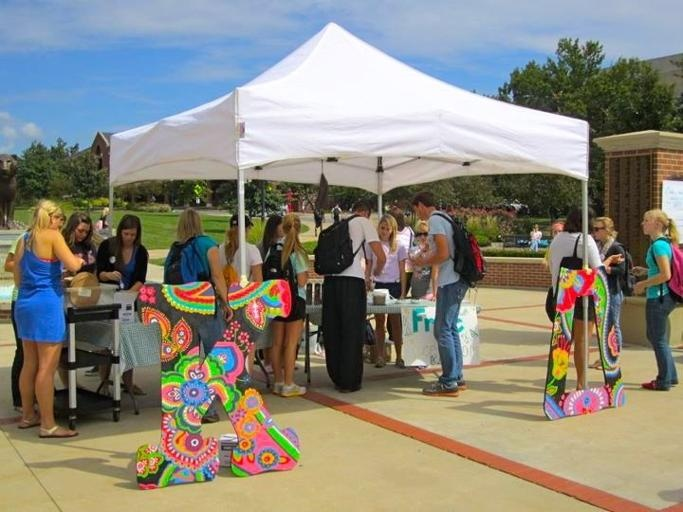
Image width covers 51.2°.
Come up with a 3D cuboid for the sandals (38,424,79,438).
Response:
[{"bbox_3d":[-2.964,1.839,7.503,0.291,0.126,0.174,0,1,-14],"label":"sandals"}]

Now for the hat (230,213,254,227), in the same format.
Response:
[{"bbox_3d":[-1.388,-0.488,9.943,0.241,0.225,0.344,2,8,34],"label":"hat"}]

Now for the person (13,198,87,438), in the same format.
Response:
[{"bbox_3d":[-3.074,0.649,7.465,0.826,2.463,0.408,2,6,22],"label":"person"}]

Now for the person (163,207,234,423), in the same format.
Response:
[{"bbox_3d":[-1.489,0.176,7.361,0.617,1.278,1.342,-2,7,-16],"label":"person"}]

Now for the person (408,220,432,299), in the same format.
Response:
[{"bbox_3d":[1.164,0.096,10.134,0.393,1.488,0.452,-5,43,7],"label":"person"}]

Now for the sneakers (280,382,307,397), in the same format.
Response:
[{"bbox_3d":[-0.578,1.637,8.801,0.306,0.157,0.136,-1,0,-26],"label":"sneakers"}]

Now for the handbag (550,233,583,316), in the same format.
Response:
[{"bbox_3d":[2.630,0.250,8.259,0.351,0.944,0.645,2,6,18],"label":"handbag"}]

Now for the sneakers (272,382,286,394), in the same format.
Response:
[{"bbox_3d":[-0.767,1.631,8.872,0.066,0.091,0.188,2,5,26],"label":"sneakers"}]

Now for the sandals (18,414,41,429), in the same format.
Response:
[{"bbox_3d":[-3.358,1.789,7.764,0.266,0.118,0.096,-3,4,-43],"label":"sandals"}]

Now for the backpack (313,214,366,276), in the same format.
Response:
[{"bbox_3d":[0.031,-0.145,8.836,0.689,0.756,0.439,-1,-4,-41],"label":"backpack"}]

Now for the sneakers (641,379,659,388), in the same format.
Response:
[{"bbox_3d":[3.871,1.603,8.970,0.138,0.066,0.088,2,1,28],"label":"sneakers"}]
